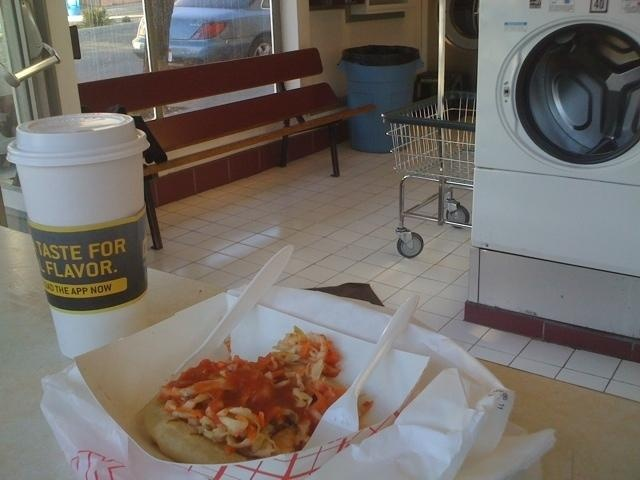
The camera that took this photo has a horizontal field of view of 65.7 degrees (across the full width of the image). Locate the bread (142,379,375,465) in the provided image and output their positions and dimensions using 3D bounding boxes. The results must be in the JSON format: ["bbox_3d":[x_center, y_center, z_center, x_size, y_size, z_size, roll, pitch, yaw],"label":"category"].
[{"bbox_3d":[-0.127,0.214,0.642,0.194,0.036,0.123,1,12,-38],"label":"bread"}]
